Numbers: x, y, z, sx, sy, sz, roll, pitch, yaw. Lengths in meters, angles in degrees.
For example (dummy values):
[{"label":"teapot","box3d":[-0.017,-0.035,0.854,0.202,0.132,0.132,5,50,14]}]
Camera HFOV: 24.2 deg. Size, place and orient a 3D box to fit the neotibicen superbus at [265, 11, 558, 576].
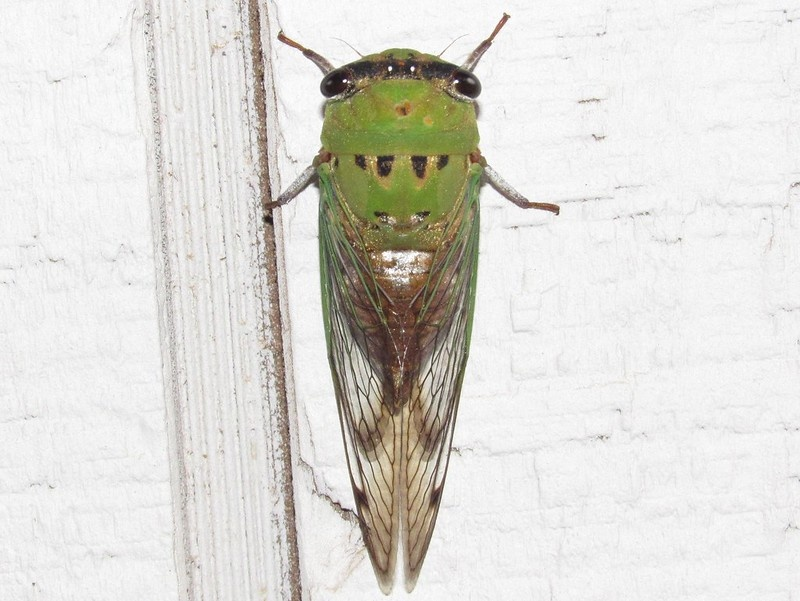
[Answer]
[{"label":"neotibicen superbus","box3d":[0.063,0.030,3.767,0.416,0.535,0.927,-3,-58,3]}]
